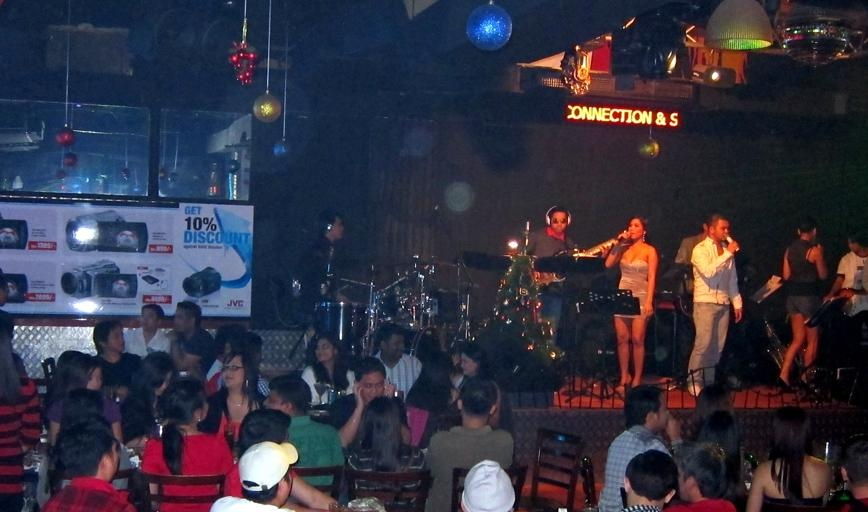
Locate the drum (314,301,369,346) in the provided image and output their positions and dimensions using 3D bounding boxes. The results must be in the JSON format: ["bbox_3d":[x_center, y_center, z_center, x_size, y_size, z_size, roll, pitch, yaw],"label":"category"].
[{"bbox_3d":[-1.479,1.077,14.920,0.736,0.518,0.705,0,-6,0],"label":"drum"}]

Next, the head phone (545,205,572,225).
[{"bbox_3d":[2.222,-0.747,16.766,0.564,0.415,0.200,0,6,2],"label":"head phone"}]

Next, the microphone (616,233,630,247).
[{"bbox_3d":[3.153,-0.304,15.338,0.206,0.227,0.332,0,-14,6],"label":"microphone"}]

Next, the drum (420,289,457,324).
[{"bbox_3d":[0.113,0.859,16.144,0.476,0.587,0.865,-2,-5,29],"label":"drum"}]

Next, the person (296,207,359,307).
[{"bbox_3d":[-1.906,0.060,15.463,0.648,1.508,0.703,6,-19,-9],"label":"person"}]

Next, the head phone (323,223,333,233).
[{"bbox_3d":[-1.755,-0.489,15.417,0.101,0.139,0.034,7,17,-3],"label":"head phone"}]

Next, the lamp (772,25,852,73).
[{"bbox_3d":[4.938,-2.709,12.007,0.623,0.402,0.613,0,0,10],"label":"lamp"}]

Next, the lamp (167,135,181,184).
[{"bbox_3d":[-4.672,-1.773,16.813,0.112,0.827,0.110,10,-20,-22],"label":"lamp"}]

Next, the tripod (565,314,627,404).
[{"bbox_3d":[2.529,1.638,15.629,1.367,1.725,1.161,-2,-6,11],"label":"tripod"}]
